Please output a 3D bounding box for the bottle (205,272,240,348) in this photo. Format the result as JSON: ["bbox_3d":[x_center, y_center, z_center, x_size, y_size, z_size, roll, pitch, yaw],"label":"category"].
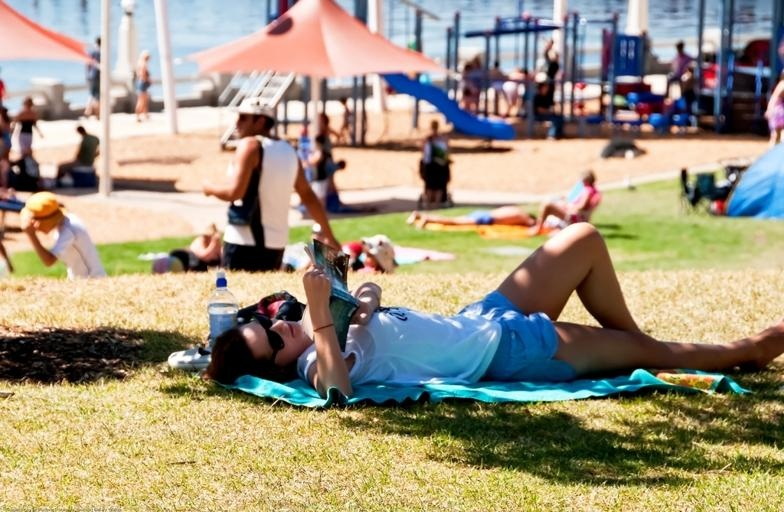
[{"bbox_3d":[-1.675,0.518,12.571,0.267,0.792,0.269,1,1,0],"label":"bottle"}]

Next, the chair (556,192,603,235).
[{"bbox_3d":[2.571,-0.595,17.661,0.417,0.844,1.122,1,1,15],"label":"chair"}]

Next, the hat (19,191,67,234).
[{"bbox_3d":[-3.834,-0.476,13.879,0.351,0.379,0.469,-14,5,-33],"label":"hat"}]
